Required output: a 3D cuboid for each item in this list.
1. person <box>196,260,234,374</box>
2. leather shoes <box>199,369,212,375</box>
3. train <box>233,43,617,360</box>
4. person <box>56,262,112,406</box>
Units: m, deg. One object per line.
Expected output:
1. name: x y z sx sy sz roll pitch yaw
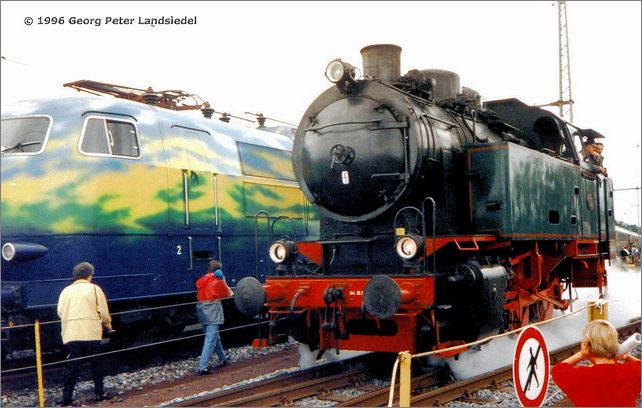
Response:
1. person: -2.211 2.306 10.487 0.738 2.251 0.603 -3 -4 -15
2. leather shoes: -2.300 3.361 10.169 0.287 0.114 0.101 0 0 -6
3. train: 3.415 0.296 12.788 4.284 4.847 10.484 -3 -4 41
4. person: -4.152 2.251 8.905 0.828 2.441 0.471 -2 -5 -26
